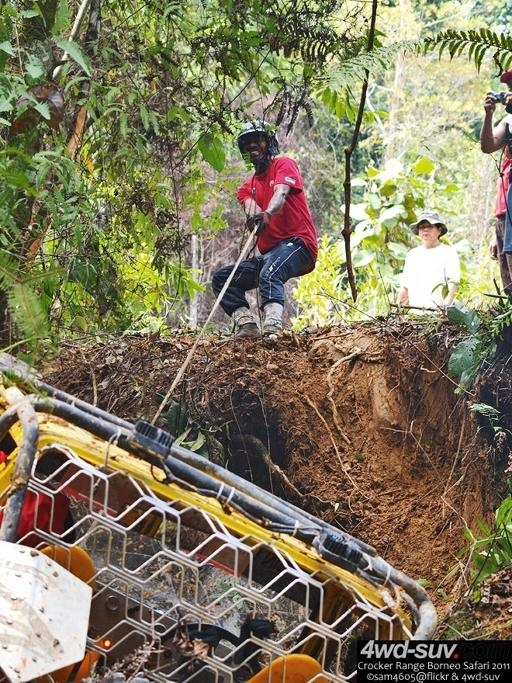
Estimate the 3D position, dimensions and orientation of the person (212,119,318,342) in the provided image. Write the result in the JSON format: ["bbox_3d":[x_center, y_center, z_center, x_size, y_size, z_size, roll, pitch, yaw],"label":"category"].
[{"bbox_3d":[0.087,-0.675,6.221,0.664,1.382,1.069,10,-10,2],"label":"person"}]

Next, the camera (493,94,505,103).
[{"bbox_3d":[1.221,-1.222,4.774,0.059,0.025,0.100,-16,17,2],"label":"camera"}]

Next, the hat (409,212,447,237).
[{"bbox_3d":[1.301,-0.920,7.111,0.255,0.138,0.282,-2,-18,17],"label":"hat"}]
